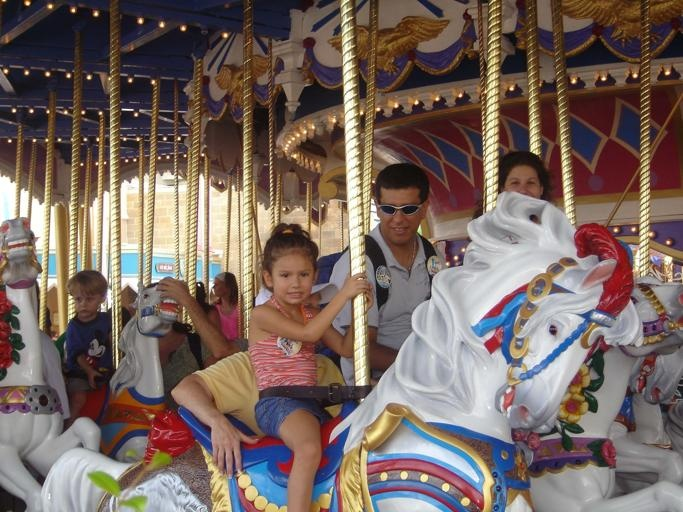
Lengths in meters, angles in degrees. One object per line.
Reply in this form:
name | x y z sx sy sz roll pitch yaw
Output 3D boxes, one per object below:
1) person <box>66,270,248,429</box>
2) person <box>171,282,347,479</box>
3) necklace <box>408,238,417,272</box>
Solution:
person | -1.345 0.602 5.484 1.141 1.210 0.751 -4 -2 0
person | -0.386 0.614 3.589 0.646 0.792 0.286 -1 -17 -27
necklace | 0.389 0.000 4.112 0.073 0.149 0.034 4 -11 -5
